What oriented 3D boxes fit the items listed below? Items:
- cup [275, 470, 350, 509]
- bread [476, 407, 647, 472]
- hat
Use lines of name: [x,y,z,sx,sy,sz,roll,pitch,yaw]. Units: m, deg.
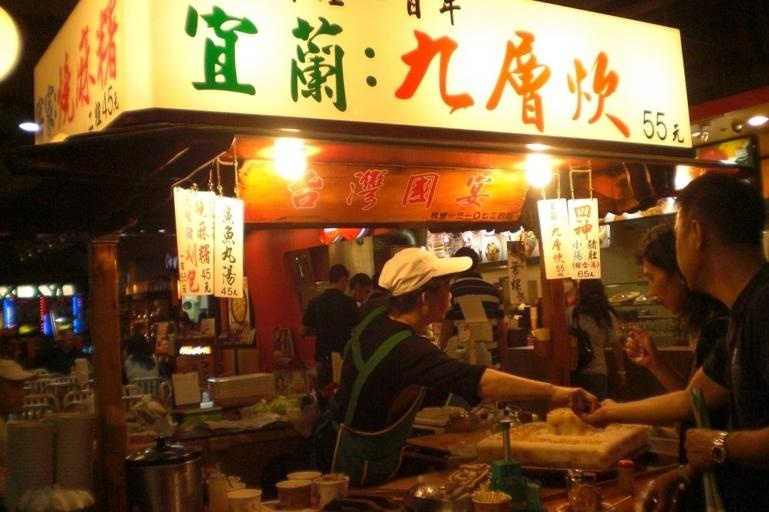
cup: [-0.571,1.816,5.067,0.544,0.230,0.319,-5,-4,24]
bread: [1.515,1.566,5.441,0.721,0.254,0.798,-9,-8,30]
hat: [0.304,0.081,5.392,0.627,0.252,0.410,-20,16,1]
